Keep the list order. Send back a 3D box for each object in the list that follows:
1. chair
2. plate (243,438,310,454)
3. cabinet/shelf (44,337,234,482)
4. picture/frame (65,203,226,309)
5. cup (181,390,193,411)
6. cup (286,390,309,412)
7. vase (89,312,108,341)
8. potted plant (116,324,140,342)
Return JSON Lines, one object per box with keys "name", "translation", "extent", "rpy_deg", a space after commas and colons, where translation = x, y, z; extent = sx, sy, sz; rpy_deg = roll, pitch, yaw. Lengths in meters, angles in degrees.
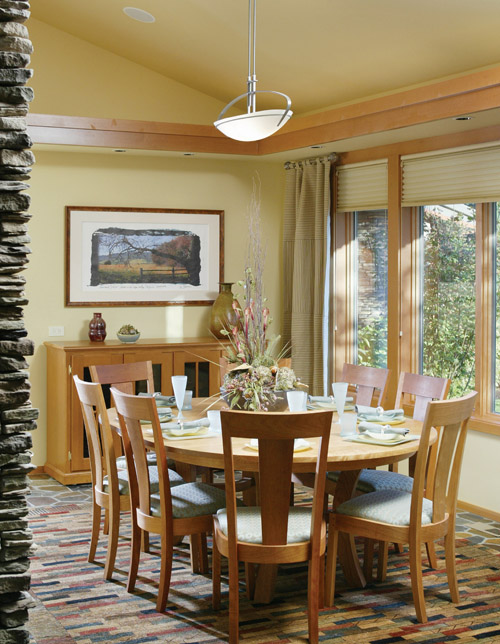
{"name": "chair", "translation": [0.254, 0.603, 2.720], "extent": [1.474, 0.691, 1.374], "rpy_deg": [1, -3, -7]}
{"name": "plate", "translation": [0.096, 0.432, 1.968], "extent": [0.133, 0.014, 0.118], "rpy_deg": [1, -4, -43]}
{"name": "cabinet/shelf", "translation": [-0.826, 0.666, 4.961], "extent": [1.635, 1.231, 0.576], "rpy_deg": [-2, 22, -26]}
{"name": "picture/frame", "translation": [-0.982, -0.586, 5.022], "extent": [1.106, 0.603, 0.025], "rpy_deg": [-2, 6, -22]}
{"name": "cup", "translation": [-0.332, 0.426, 3.117], "extent": [0.091, 0.088, 0.086], "rpy_deg": [0, 6, 0]}
{"name": "cup", "translation": [0.205, 0.348, 2.491], "extent": [0.114, 0.091, 0.070], "rpy_deg": [0, -3, 6]}
{"name": "vase", "translation": [-1.277, 0.042, 4.783], "extent": [0.136, 0.236, 0.301], "rpy_deg": [-1, 5, -13]}
{"name": "potted plant", "translation": [-1.006, 0.091, 4.744], "extent": [0.152, 0.088, 0.154], "rpy_deg": [1, -3, -2]}
